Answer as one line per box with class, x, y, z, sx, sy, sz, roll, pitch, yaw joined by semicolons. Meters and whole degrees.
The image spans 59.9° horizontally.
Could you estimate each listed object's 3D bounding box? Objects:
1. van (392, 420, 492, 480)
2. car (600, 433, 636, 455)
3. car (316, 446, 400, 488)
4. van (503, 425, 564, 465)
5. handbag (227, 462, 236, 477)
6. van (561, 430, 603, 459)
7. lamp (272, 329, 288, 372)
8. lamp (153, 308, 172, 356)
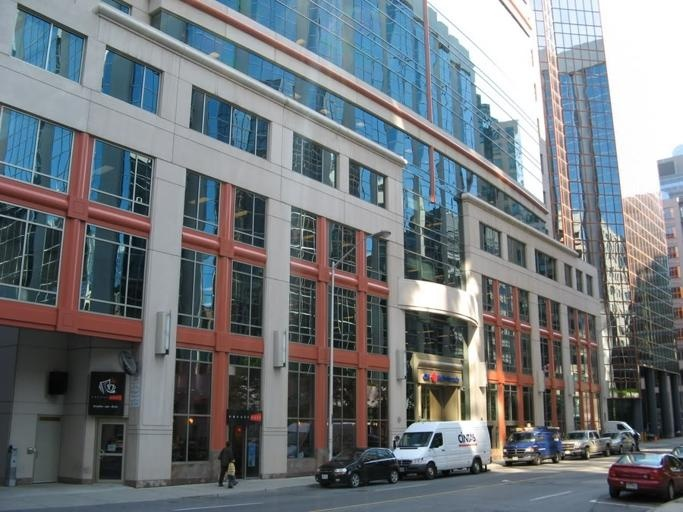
van;5.952;11.813;36.382;2.870;3.246;7.318;-17;-23;42
car;24.208;16.279;51.645;1.641;1.273;3.738;-14;-27;35
car;0.803;11.042;30.730;2.026;1.460;3.561;-20;-29;40
van;13.936;14.054;43.531;2.446;2.437;4.617;-19;-32;36
handbag;-5.284;10.269;28.502;0.271;0.632;0.362;4;-20;-18
van;20.256;15.738;49.223;1.861;1.549;4.289;-20;-35;32
lamp;-3.535;5.371;34.513;0.809;2.032;0.669;2;-19;-10
lamp;-8.861;3.897;29.637;0.619;2.085;0.932;-9;-20;18
